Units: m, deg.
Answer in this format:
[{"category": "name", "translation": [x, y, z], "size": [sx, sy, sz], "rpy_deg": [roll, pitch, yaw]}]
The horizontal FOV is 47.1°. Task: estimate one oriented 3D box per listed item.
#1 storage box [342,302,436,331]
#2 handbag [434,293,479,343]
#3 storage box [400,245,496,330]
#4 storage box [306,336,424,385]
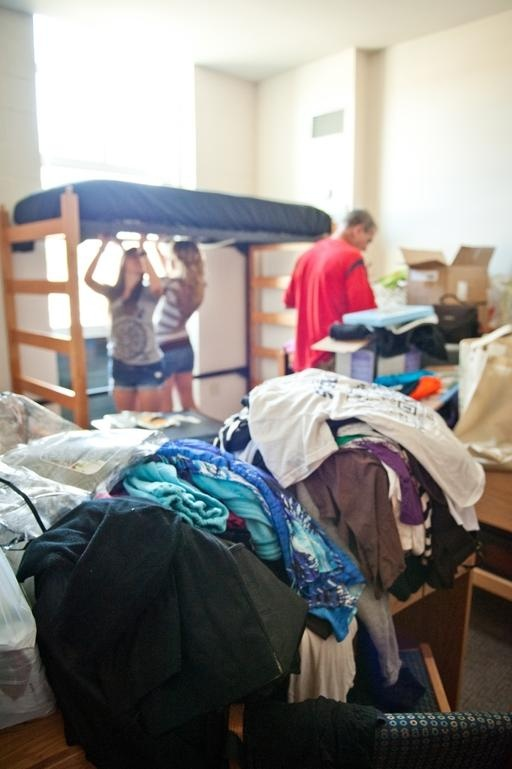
[{"category": "storage box", "translation": [0.473, -0.240, 2.070], "size": [0.196, 0.049, 0.149], "rpy_deg": [-16, 19, -36]}, {"category": "handbag", "translation": [0.807, -0.269, 2.378], "size": [0.185, 0.193, 0.088], "rpy_deg": [-4, 10, -12]}, {"category": "storage box", "translation": [0.819, -0.498, 2.499], "size": [0.289, 0.292, 0.278], "rpy_deg": [16, 35, 17]}, {"category": "storage box", "translation": [0.436, -0.108, 2.187], "size": [0.251, 0.186, 0.528], "rpy_deg": [13, 20, 43]}]
